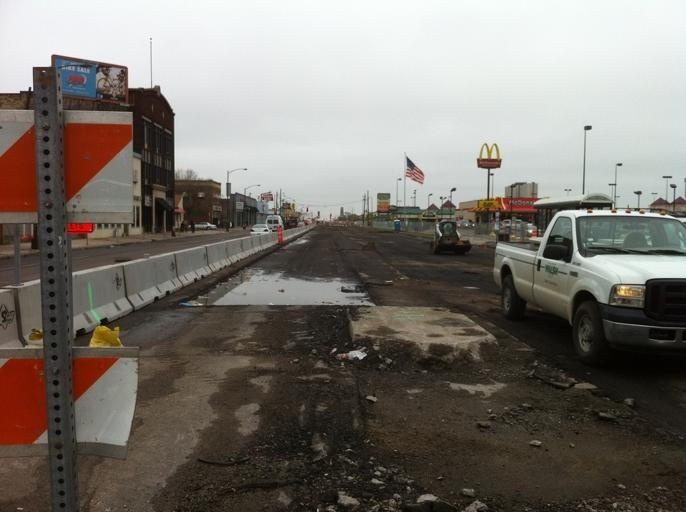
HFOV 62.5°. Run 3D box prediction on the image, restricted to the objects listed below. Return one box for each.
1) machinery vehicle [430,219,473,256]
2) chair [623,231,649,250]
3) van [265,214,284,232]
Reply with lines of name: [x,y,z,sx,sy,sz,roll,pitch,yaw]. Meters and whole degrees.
machinery vehicle: [5.941,-1.064,32.631,1.298,1.369,2.634,0,3,-7]
chair: [4.535,-0.221,8.817,0.277,0.398,0.334,0,-3,7]
van: [-8.344,-4.383,68.343,2.429,2.668,4.411,0,-2,-1]
